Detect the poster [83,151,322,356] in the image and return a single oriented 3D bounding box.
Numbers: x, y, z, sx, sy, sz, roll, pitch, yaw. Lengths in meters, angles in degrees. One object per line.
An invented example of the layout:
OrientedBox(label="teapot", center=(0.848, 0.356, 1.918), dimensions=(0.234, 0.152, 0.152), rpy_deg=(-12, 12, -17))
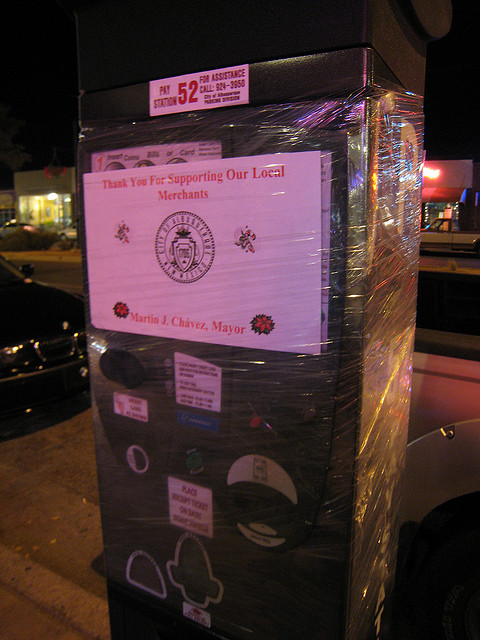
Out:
OrientedBox(label="poster", center=(-0.105, -0.133, 1.180), dimensions=(0.590, 0.369, 0.053), rpy_deg=(5, 14, 35))
